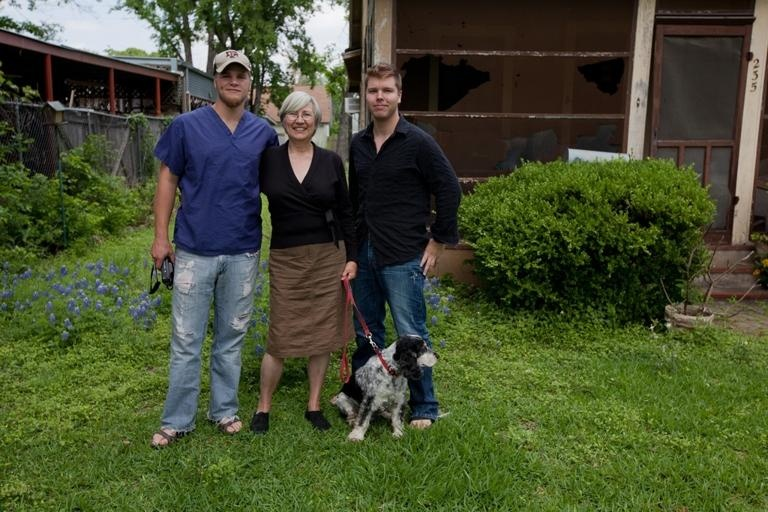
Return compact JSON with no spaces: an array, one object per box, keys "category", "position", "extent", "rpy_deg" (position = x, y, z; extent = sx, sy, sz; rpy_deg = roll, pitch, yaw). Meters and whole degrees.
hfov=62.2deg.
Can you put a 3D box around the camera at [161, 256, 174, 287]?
[{"category":"camera","position":[-2.088,0.154,6.096],"extent":[0.098,0.321,0.122],"rpy_deg":[-1,4,34]}]

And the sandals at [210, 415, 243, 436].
[{"category":"sandals","position":[-1.486,1.644,6.159],"extent":[0.278,0.077,0.135],"rpy_deg":[19,25,41]}]

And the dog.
[{"category":"dog","position":[-0.123,1.268,6.352],"extent":[0.641,1.037,1.354],"rpy_deg":[3,0,-35]}]

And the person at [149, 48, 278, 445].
[{"category":"person","position":[-1.645,-0.093,6.057],"extent":[1.076,3.681,0.683],"rpy_deg":[-1,10,-15]}]

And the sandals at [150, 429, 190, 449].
[{"category":"sandals","position":[-2.047,1.716,6.015],"extent":[0.134,0.078,0.301],"rpy_deg":[5,2,29]}]

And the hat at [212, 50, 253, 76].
[{"category":"hat","position":[-1.482,-1.885,6.144],"extent":[0.281,0.192,0.375],"rpy_deg":[-3,14,-18]}]

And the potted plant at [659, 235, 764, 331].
[{"category":"potted plant","position":[4.947,0.579,9.581],"extent":[1.282,0.590,1.924],"rpy_deg":[3,19,42]}]
